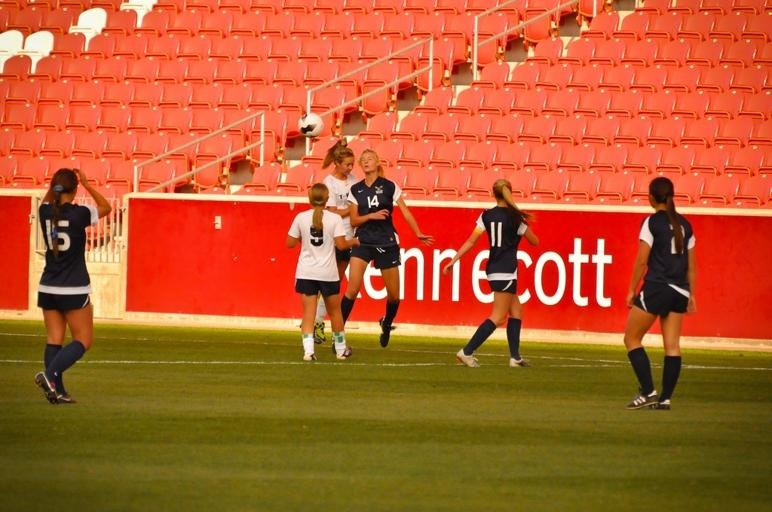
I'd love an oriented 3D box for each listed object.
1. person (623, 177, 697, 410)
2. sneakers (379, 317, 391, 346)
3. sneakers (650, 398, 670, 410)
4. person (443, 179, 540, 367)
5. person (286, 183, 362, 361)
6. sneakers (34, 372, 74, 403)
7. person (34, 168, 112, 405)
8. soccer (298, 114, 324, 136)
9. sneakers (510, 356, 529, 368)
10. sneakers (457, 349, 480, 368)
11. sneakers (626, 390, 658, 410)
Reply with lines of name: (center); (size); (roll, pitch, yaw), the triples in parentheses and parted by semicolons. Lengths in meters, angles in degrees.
person: (3.438, 0.516, 14.865); (0.822, 2.957, 0.593); (3, 13, 11)
sneakers: (0.025, 1.193, 18.153); (0.163, 0.467, 0.227); (-7, 22, -23)
sneakers: (3.465, 1.878, 14.952); (0.103, 0.109, 0.277); (-3, 4, -37)
person: (1.548, 0.295, 16.961); (1.210, 2.772, 0.731); (-8, 15, -34)
person: (-0.987, 0.267, 17.045); (0.856, 2.639, 0.407); (0, 13, -4)
sneakers: (-4.209, 1.672, 14.889); (0.198, 0.385, 0.135); (-35, 16, 7)
person: (-3.990, 0.368, 14.877); (0.915, 2.913, 1.041); (-2, 13, -11)
soccer: (-1.492, -2.553, 23.125); (0.413, 0.458, 0.496); (1, 12, -1)
sneakers: (1.905, 1.555, 17.273); (0.311, 0.127, 0.109); (3, 15, -34)
sneakers: (1.155, 1.486, 17.040); (0.188, 0.150, 0.452); (-26, -29, 22)
sneakers: (3.231, 1.833, 15.005); (0.451, 0.176, 0.171); (-12, 2, 3)
